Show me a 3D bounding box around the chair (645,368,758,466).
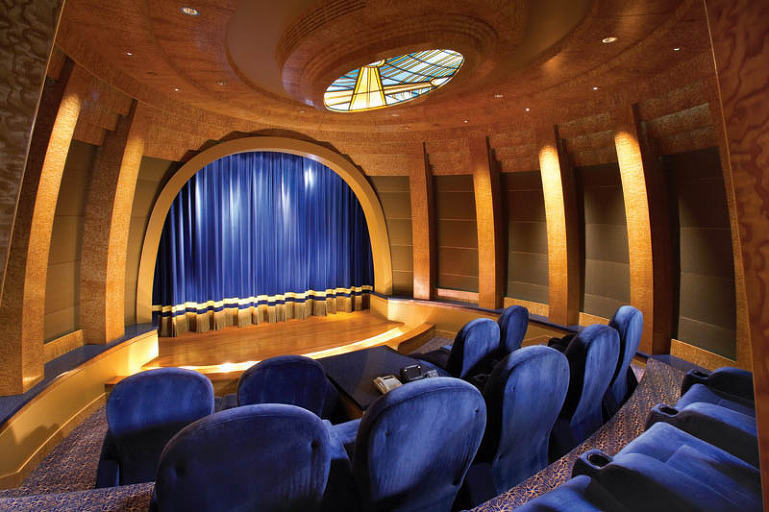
[{"bbox_3d":[1.969,0.935,2.900,0.567,0.530,0.577,-7,9,-44],"label":"chair"}]
